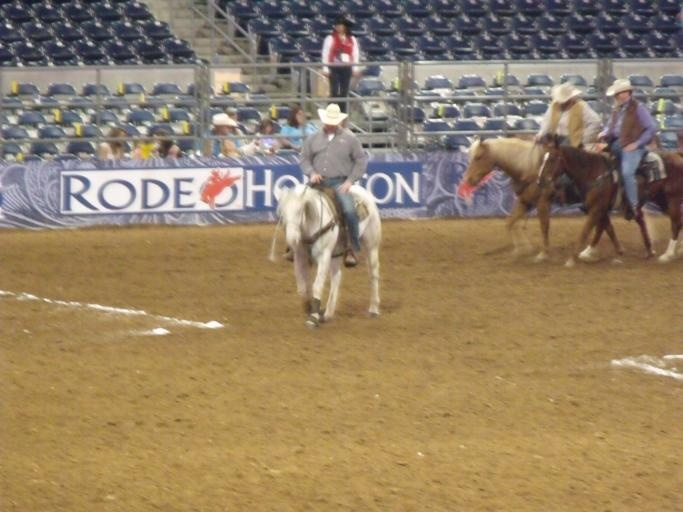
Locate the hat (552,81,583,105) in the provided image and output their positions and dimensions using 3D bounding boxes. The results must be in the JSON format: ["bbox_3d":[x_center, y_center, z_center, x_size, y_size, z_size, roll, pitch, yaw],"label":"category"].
[{"bbox_3d":[4.030,-2.962,24.195,0.532,0.214,0.568,-22,12,37],"label":"hat"}]

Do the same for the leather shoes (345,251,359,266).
[{"bbox_3d":[0.134,0.054,20.879,0.157,0.230,0.232,0,-8,0],"label":"leather shoes"}]

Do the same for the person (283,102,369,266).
[{"bbox_3d":[-0.205,-1.063,20.913,1.003,2.568,0.880,4,15,12],"label":"person"}]

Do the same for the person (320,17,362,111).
[{"bbox_3d":[-0.031,-3.964,28.404,0.747,1.844,1.016,-2,12,1],"label":"person"}]

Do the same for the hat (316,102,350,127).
[{"bbox_3d":[-0.157,-2.152,20.881,0.357,0.367,0.539,-3,12,-3],"label":"hat"}]

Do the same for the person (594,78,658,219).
[{"bbox_3d":[5.033,-1.885,23.845,0.786,2.373,0.816,-1,12,9],"label":"person"}]

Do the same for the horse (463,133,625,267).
[{"bbox_3d":[3.768,-0.996,24.905,3.392,2.190,0.915,1,-7,-24],"label":"horse"}]

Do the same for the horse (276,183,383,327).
[{"bbox_3d":[-0.151,-0.118,20.849,1.320,2.158,2.612,-1,12,7],"label":"horse"}]

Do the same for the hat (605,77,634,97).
[{"bbox_3d":[4.797,-2.915,23.662,0.363,0.264,0.484,-5,12,-12],"label":"hat"}]
